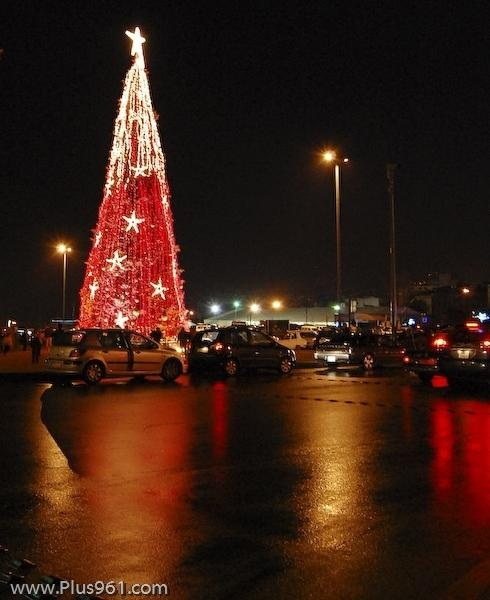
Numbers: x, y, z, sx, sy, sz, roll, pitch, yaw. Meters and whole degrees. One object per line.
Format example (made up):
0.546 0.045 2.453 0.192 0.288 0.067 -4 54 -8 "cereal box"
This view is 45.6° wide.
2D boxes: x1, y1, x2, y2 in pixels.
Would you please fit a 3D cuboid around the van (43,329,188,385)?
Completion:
-4.009 1.752 18.331 3.662 1.479 1.912 -1 0 -32 "van"

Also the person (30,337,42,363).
-9.712 2.332 27.051 0.359 1.206 1.553 2 -5 -21 "person"
